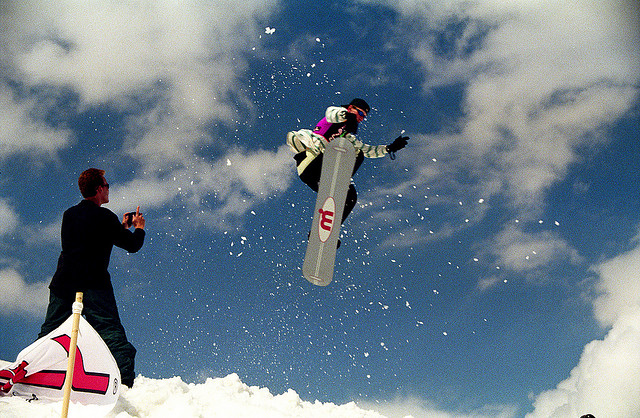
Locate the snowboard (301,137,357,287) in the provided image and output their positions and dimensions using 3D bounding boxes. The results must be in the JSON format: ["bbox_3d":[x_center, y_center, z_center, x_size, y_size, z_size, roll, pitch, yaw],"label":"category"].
[{"bbox_3d":[0.178,-0.050,18.120,0.666,2.825,0.308,14,-3,0],"label":"snowboard"}]

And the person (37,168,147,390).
[{"bbox_3d":[-3.709,1.087,17.120,1.513,3.459,0.532,5,-6,-16],"label":"person"}]
